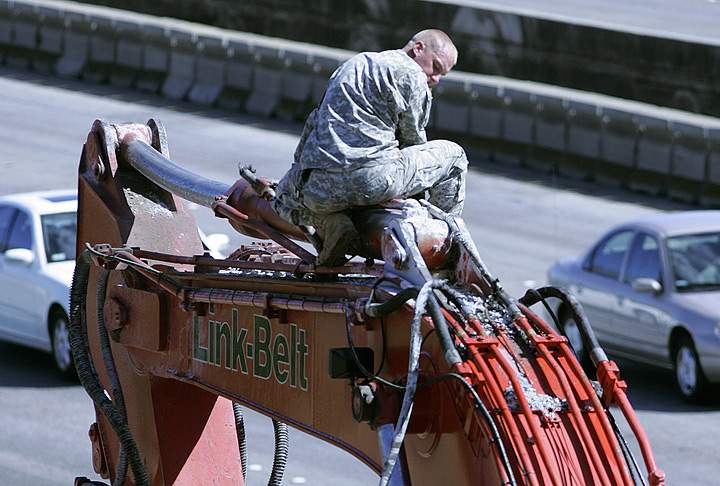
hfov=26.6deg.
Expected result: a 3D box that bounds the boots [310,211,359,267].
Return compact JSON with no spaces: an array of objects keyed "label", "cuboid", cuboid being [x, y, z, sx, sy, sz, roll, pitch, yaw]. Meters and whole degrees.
[{"label":"boots","cuboid":[-0.251,-0.062,16.661,0.538,0.554,0.240,0,5,38]}]
